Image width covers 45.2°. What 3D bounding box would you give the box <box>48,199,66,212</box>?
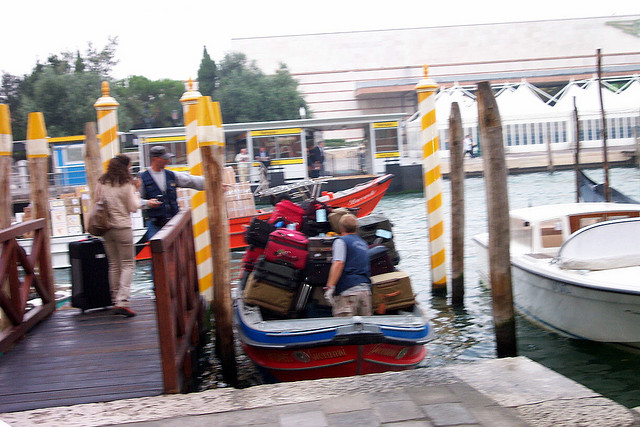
[{"bbox_3d":[-6.618,-0.210,19.449,0.382,0.259,0.225,-4,8,-9],"label":"box"}]

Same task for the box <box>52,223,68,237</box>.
[{"bbox_3d":[-6.485,0.404,19.413,0.473,0.288,0.353,0,16,-9],"label":"box"}]

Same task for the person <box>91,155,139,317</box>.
[{"bbox_3d":[-3.129,0.370,11.881,0.732,2.504,0.375,-6,10,-10],"label":"person"}]

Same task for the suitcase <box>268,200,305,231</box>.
[{"bbox_3d":[-0.598,0.026,14.330,0.657,0.432,0.470,10,5,-20],"label":"suitcase"}]

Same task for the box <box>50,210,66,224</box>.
[{"bbox_3d":[-6.583,0.081,19.384,0.401,0.346,0.157,-3,9,1],"label":"box"}]

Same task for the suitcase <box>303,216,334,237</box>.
[{"bbox_3d":[-0.058,0.215,13.521,0.619,0.329,0.262,0,9,17],"label":"suitcase"}]

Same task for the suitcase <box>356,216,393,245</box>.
[{"bbox_3d":[0.934,0.310,13.467,0.797,0.303,0.453,-5,28,-23],"label":"suitcase"}]

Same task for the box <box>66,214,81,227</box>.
[{"bbox_3d":[-6.195,0.165,19.357,0.472,0.283,0.282,0,-3,-5],"label":"box"}]

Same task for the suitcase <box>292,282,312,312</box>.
[{"bbox_3d":[-0.283,1.289,11.964,0.127,0.379,0.333,26,-7,-14],"label":"suitcase"}]

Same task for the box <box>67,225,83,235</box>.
[{"bbox_3d":[-6.138,0.401,19.318,0.372,0.170,0.301,-1,-2,-18],"label":"box"}]

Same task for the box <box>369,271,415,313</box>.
[{"bbox_3d":[1.248,1.249,12.447,1.096,0.510,0.745,-2,2,-4],"label":"box"}]

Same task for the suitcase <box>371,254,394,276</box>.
[{"bbox_3d":[0.983,0.834,12.456,0.489,0.216,0.264,-10,5,-29],"label":"suitcase"}]

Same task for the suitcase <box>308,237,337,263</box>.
[{"bbox_3d":[0.022,0.540,12.130,0.767,0.402,0.389,1,9,0],"label":"suitcase"}]
